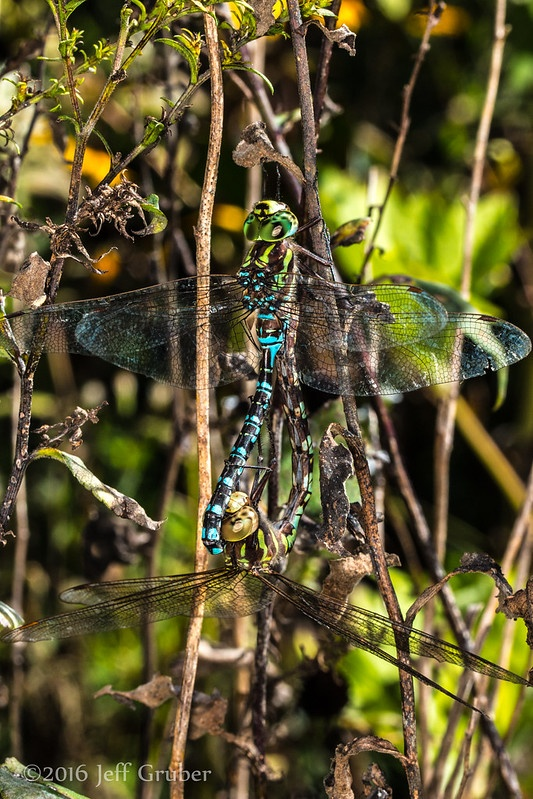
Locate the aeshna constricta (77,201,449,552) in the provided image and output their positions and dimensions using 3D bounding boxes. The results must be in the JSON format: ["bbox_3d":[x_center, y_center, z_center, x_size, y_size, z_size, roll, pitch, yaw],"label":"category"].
[{"bbox_3d":[-0.043,-0.078,0.986,0.351,0.134,0.361,-21,19,-24],"label":"aeshna constricta"}]

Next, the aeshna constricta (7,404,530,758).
[{"bbox_3d":[-0.019,0.203,0.889,0.616,0.178,0.263,4,72,5],"label":"aeshna constricta"}]
